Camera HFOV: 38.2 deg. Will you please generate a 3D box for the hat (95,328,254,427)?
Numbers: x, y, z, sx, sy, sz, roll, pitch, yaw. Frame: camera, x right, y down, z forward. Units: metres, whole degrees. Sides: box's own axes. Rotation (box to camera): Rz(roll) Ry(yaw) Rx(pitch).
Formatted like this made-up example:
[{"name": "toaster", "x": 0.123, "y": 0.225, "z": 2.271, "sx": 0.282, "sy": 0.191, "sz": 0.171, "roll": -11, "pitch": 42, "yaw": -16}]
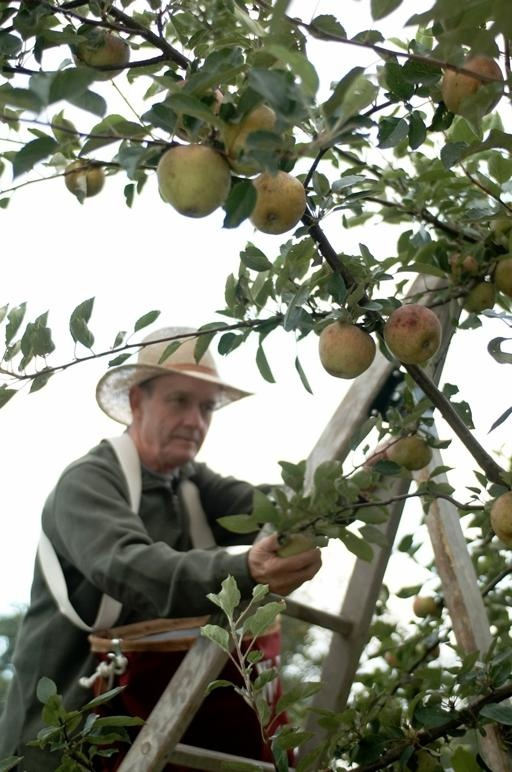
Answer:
[{"name": "hat", "x": -0.369, "y": -0.033, "z": 2.667, "sx": 0.449, "sy": 0.208, "sz": 0.445, "roll": 16, "pitch": -27, "yaw": -37}]
